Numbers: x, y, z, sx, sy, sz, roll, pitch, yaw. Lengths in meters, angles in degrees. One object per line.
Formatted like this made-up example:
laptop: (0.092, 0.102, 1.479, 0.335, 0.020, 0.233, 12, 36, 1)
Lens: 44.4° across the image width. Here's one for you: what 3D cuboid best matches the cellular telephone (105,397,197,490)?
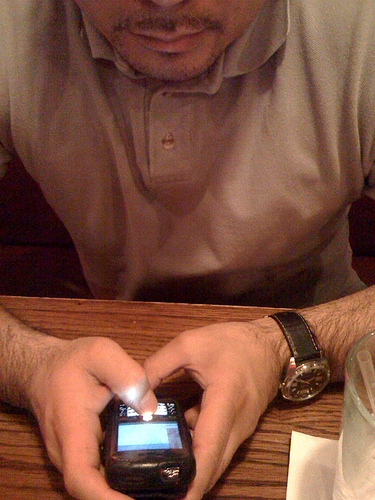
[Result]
cellular telephone: (-0.043, 0.218, 0.523, 0.098, 0.036, 0.130, 1, 13, -6)
